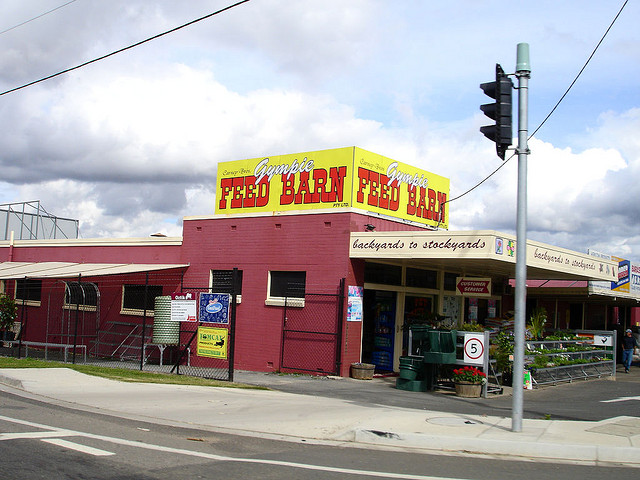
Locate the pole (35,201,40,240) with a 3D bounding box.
[{"bbox_3d":[-16.394,-0.768,39.227,0.110,1.364,0.591,7,-11,-22],"label":"pole"}]

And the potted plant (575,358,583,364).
[{"bbox_3d":[8.851,4.136,23.118,0.192,0.103,0.202,1,-2,-5],"label":"potted plant"}]

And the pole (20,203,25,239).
[{"bbox_3d":[-16.975,-0.815,38.563,0.120,1.396,0.412,7,-11,-23],"label":"pole"}]

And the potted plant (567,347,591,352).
[{"bbox_3d":[9.087,3.843,23.744,0.539,0.228,2.110,-3,-12,29],"label":"potted plant"}]

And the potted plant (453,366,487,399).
[{"bbox_3d":[4.137,3.919,18.605,0.873,0.811,0.520,-6,-13,40],"label":"potted plant"}]

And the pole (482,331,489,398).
[{"bbox_3d":[4.527,3.401,18.535,0.130,1.780,0.564,0,-10,13],"label":"pole"}]

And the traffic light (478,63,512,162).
[{"bbox_3d":[3.439,-2.507,13.198,0.588,1.888,0.516,1,-10,10],"label":"traffic light"}]

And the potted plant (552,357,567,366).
[{"bbox_3d":[7.835,3.984,22.215,0.297,0.276,0.821,-4,-12,33],"label":"potted plant"}]
